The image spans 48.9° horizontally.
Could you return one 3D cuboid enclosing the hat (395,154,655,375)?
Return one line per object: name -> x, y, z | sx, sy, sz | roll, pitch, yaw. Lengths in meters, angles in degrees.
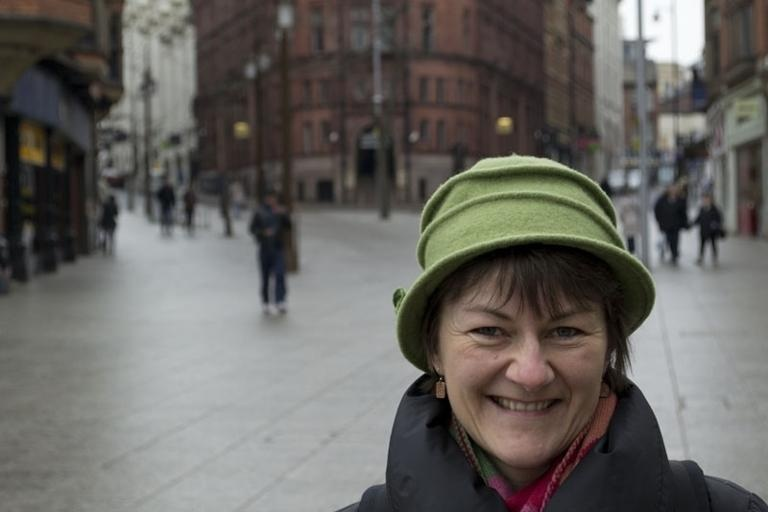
hat -> 0.350, -0.104, 2.460 | 0.533, 0.399, 0.569 | -18, -44, 23
